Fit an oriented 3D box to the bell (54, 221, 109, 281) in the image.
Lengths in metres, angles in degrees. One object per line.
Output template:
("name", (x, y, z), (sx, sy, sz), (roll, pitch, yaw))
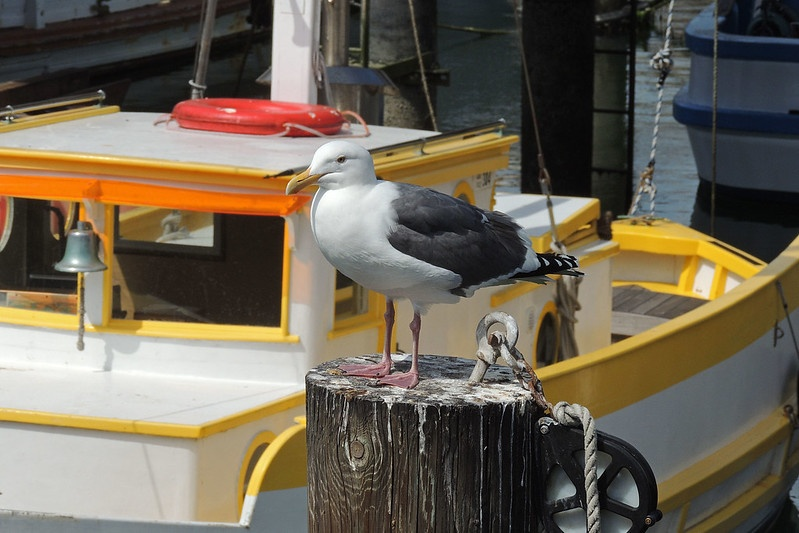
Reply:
("bell", (-3.224, -0.171, 19.757), (0.608, 0.434, 0.539), (0, 4, -6))
